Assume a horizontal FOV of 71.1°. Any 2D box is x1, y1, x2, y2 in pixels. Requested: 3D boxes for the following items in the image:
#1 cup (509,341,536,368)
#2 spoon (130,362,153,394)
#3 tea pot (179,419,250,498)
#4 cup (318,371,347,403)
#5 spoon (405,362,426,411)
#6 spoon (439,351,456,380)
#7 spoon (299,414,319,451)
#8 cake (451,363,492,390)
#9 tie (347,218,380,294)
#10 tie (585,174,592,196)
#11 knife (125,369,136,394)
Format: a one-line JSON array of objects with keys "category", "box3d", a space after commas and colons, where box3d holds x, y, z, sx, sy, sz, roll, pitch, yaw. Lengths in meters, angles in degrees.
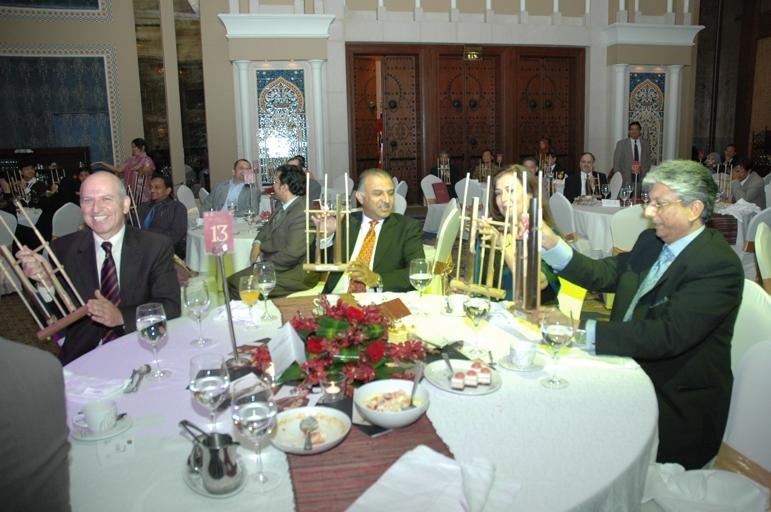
[{"category": "cup", "box3d": [0.538, 0.391, 2.130, 0.083, 0.083, 0.098, -1, 3, 5]}, {"category": "spoon", "box3d": [-0.954, 0.471, 2.092, 0.030, 0.027, 0.108, -2, 23, -3]}, {"category": "tea pot", "box3d": [-0.531, 0.617, 1.693, 0.210, 0.201, 0.125, 4, 7, 34]}, {"category": "cup", "box3d": [-0.186, 0.470, 1.983, 0.086, 0.085, 0.101, 2, 12, 1]}, {"category": "spoon", "box3d": [0.101, 0.452, 1.881, 0.035, 0.024, 0.172, -2, 39, 15]}, {"category": "spoon", "box3d": [0.242, 0.426, 2.109, 0.014, 0.086, 0.046, 7, 28, 45]}, {"category": "spoon", "box3d": [-0.255, 0.569, 1.727, 0.033, 0.040, 0.097, 2, 28, -4]}, {"category": "cake", "box3d": [0.321, 0.452, 2.037, 0.107, 0.059, 0.108, -1, 7, 7]}, {"category": "tie", "box3d": [-0.153, 0.015, 3.537, 0.101, 0.458, 0.113, 17, -12, -13]}, {"category": "tie", "box3d": [2.700, -0.929, 7.197, 0.148, 0.304, 0.069, 1, 3, 21]}, {"category": "knife", "box3d": [-0.968, 0.477, 2.059, 0.025, 0.016, 0.102, 1, 27, -6]}]
